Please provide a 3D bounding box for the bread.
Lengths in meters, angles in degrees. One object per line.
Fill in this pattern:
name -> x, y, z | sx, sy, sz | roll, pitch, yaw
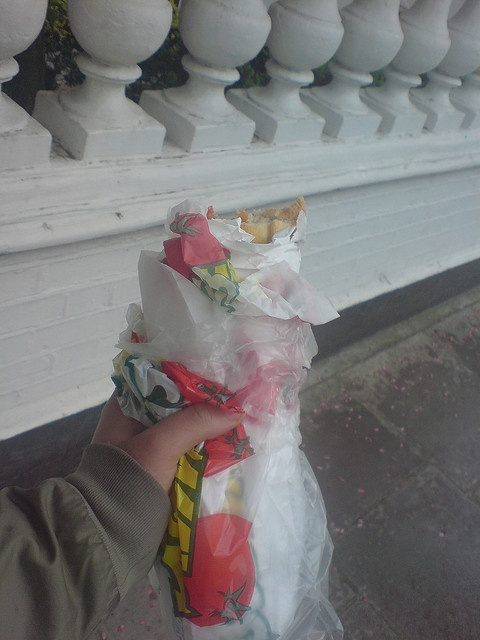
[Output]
bread -> 0.027, -0.173, 0.869 | 0.141, 0.080, 0.108 | -5, 13, 35
